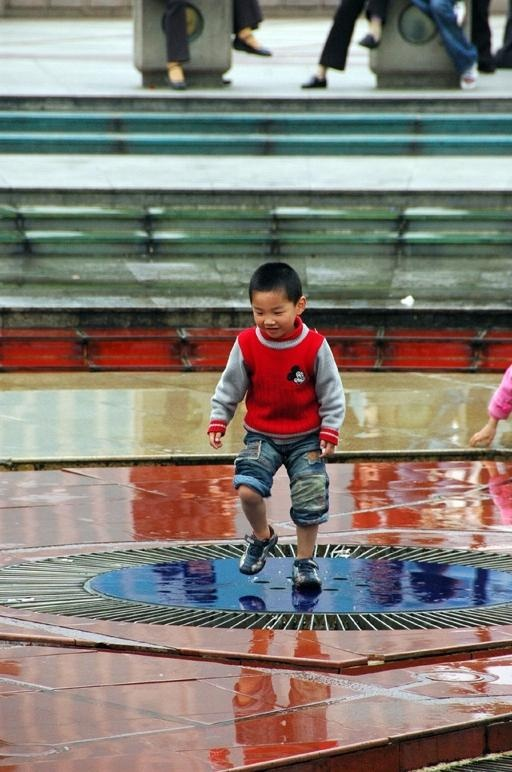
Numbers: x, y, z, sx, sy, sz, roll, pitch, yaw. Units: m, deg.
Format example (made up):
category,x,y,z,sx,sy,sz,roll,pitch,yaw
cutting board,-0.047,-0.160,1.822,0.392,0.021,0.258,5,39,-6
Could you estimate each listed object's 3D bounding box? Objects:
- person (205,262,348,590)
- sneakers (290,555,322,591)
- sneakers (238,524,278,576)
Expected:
category,x,y,z,sx,sy,sz,roll,pitch,yaw
person,0.060,0.113,3.707,0.364,0.904,0.478,0,-6,-11
sneakers,0.130,0.506,3.525,0.074,0.077,0.202,0,-5,-6
sneakers,-0.005,0.472,3.666,0.067,0.168,0.074,22,-26,10
